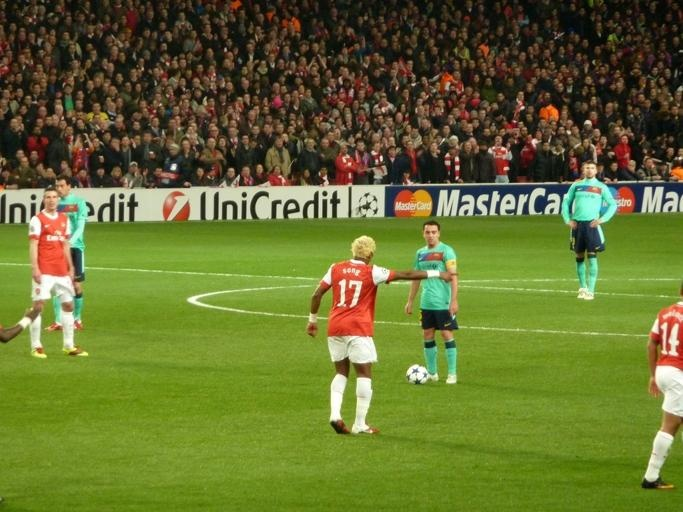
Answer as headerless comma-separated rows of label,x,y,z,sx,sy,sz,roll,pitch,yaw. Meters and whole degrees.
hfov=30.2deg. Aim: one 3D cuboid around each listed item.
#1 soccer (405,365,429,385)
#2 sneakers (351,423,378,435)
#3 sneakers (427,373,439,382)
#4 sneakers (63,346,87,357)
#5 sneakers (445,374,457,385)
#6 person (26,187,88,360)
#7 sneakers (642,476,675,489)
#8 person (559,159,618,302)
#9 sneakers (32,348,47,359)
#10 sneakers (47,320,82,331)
soccer,1.139,1.790,18.886,0.284,0.291,0.277,-3,4,-3
sneakers,0.298,2.317,16.674,0.362,0.156,0.132,0,1,-5
sneakers,1.386,1.866,19.027,0.189,0.137,0.105,0,-8,3
sneakers,-4.269,1.574,20.247,0.309,0.136,0.171,2,5,-5
sneakers,1.644,1.882,18.889,0.144,0.068,0.191,0,2,4
person,-4.522,0.293,19.940,0.843,2.717,1.508,-1,4,-9
sneakers,3.768,2.715,15.014,0.414,0.187,0.142,-1,3,-4
person,5.116,-0.522,26.269,0.968,2.819,1.057,3,5,43
sneakers,-4.796,1.582,20.077,0.272,0.121,0.119,0,2,37
sneakers,-4.916,1.280,22.227,0.690,0.304,0.235,2,-3,-10
